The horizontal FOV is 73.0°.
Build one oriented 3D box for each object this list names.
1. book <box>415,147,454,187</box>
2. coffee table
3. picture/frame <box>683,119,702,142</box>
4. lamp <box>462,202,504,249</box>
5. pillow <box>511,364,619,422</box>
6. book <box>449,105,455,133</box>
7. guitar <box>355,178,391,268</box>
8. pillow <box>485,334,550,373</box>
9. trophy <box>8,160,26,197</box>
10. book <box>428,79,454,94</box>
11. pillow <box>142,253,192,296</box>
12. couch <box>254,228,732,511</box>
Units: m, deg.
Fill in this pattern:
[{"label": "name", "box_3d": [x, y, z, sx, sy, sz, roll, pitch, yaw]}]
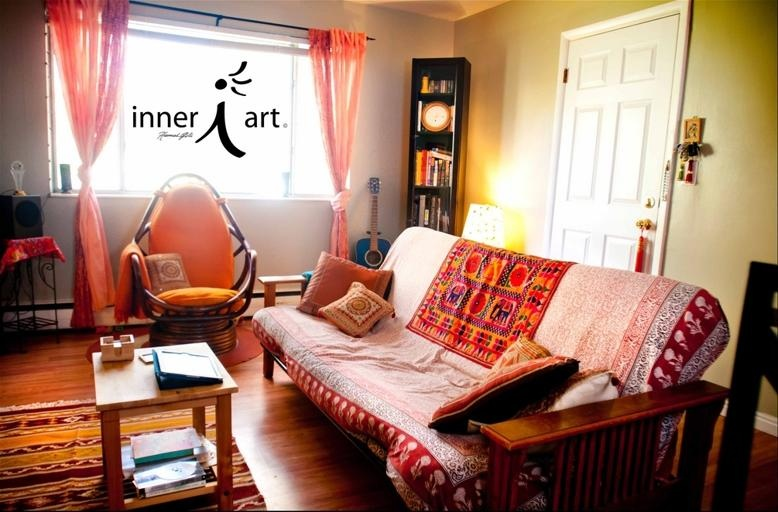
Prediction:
[{"label": "book", "box_3d": [0.465, -0.922, 5.361, 0.382, 0.369, 0.205, 4, 9, 8]}, {"label": "coffee table", "box_3d": [-1.166, 0.846, 2.884, 0.784, 0.739, 0.769, -4, 12, -25]}, {"label": "picture/frame", "box_3d": [2.156, -0.892, 3.733, 0.125, 0.170, 0.061, 8, 13, 28]}, {"label": "lamp", "box_3d": [0.909, -0.299, 5.063, 0.471, 0.488, 0.453, 9, 14, 14]}, {"label": "pillow", "box_3d": [0.844, 0.609, 2.402, 0.294, 0.096, 0.255, -22, -6, -1]}, {"label": "book", "box_3d": [0.629, -1.370, 5.268, 0.028, 0.247, 0.096, -6, 14, -36]}, {"label": "guitar", "box_3d": [-0.174, -0.180, 5.467, 0.493, 1.228, 0.159, 0, 19, -7]}, {"label": "pillow", "box_3d": [0.650, 0.521, 2.670, 0.233, 0.074, 0.215, -35, 9, 14]}, {"label": "trophy", "box_3d": [-2.997, -0.631, 4.232, 0.105, 0.258, 0.439, -5, 13, -35]}, {"label": "book", "box_3d": [0.518, -1.693, 5.278, 0.241, 0.128, 0.021, 4, 12, 9]}, {"label": "pillow", "box_3d": [-1.775, 0.135, 4.174, 0.285, 0.267, 0.277, -5, 13, -34]}, {"label": "couch", "box_3d": [0.470, 0.461, 2.888, 1.320, 1.048, 2.405, 1, 12, -23]}]
